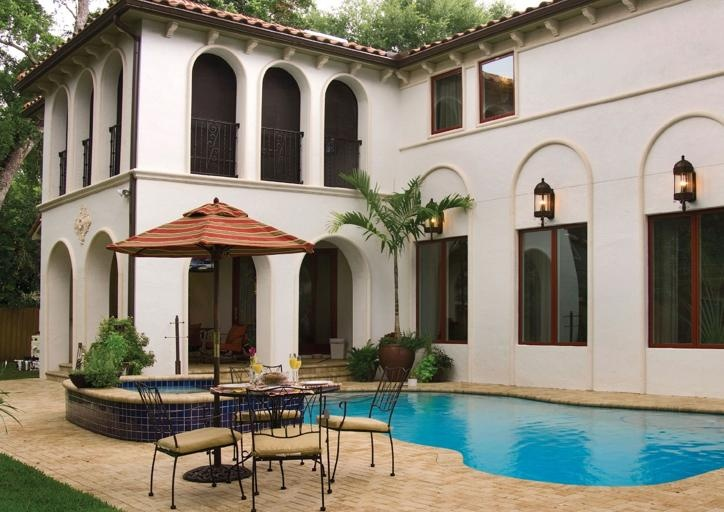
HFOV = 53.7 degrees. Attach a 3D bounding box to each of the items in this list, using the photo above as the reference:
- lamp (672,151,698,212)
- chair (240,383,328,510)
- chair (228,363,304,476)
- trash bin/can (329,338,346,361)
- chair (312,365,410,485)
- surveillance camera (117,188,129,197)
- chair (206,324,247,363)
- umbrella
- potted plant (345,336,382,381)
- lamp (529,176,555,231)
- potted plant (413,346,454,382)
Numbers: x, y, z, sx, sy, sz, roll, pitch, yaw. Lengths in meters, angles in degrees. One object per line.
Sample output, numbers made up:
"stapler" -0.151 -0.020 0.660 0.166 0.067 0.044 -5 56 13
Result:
"lamp" 6.865 -1.530 15.085 0.408 1.163 0.338 -1 2 -30
"chair" -1.121 2.503 10.512 1.160 1.322 3.570 -1 1 -8
"chair" -1.423 2.470 10.472 1.406 1.844 1.205 2 -5 -23
"trash bin/can" -0.708 2.821 21.348 0.556 0.631 0.518 0 -2 11
"chair" 0.087 2.659 11.660 1.605 2.422 1.359 5 -7 -26
"surveillance camera" -5.714 -1.505 16.994 0.233 0.218 0.182 -8 -9 40
"chair" -3.972 2.466 20.938 0.998 1.053 0.769 12 -11 -37
"umbrella" -2.456 1.170 11.882 3.572 4.001 3.920 0 1 -8
"potted plant" -0.035 2.887 19.550 0.948 1.025 0.939 -4 -3 40
"lamp" 4.408 -1.286 17.131 0.470 1.164 0.408 0 2 17
"potted plant" 1.819 2.894 18.891 0.921 0.893 0.933 5 -9 -39
